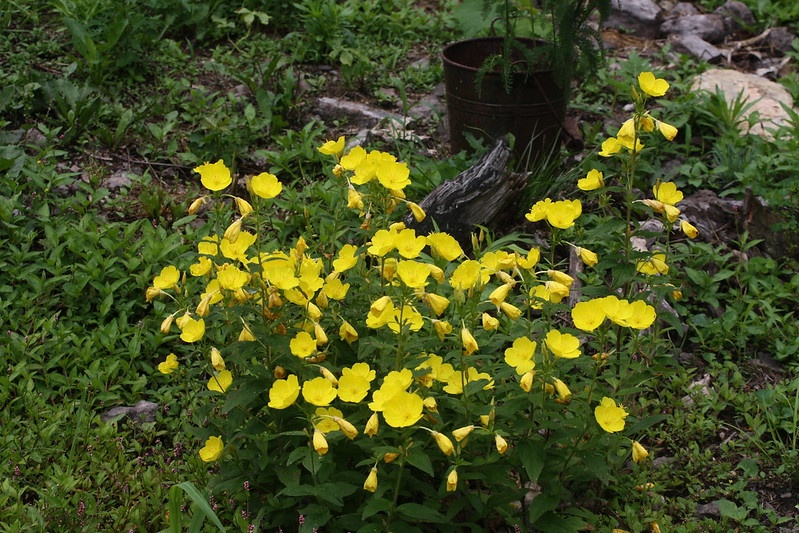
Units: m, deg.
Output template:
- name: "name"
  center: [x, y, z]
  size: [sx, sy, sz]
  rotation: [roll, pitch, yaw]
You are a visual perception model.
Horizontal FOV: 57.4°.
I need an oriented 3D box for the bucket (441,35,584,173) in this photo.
- name: "bucket"
  center: [0.979, -1.503, 6.447]
  size: [1.099, 1.064, 1.198]
  rotation: [1, 37, -1]
